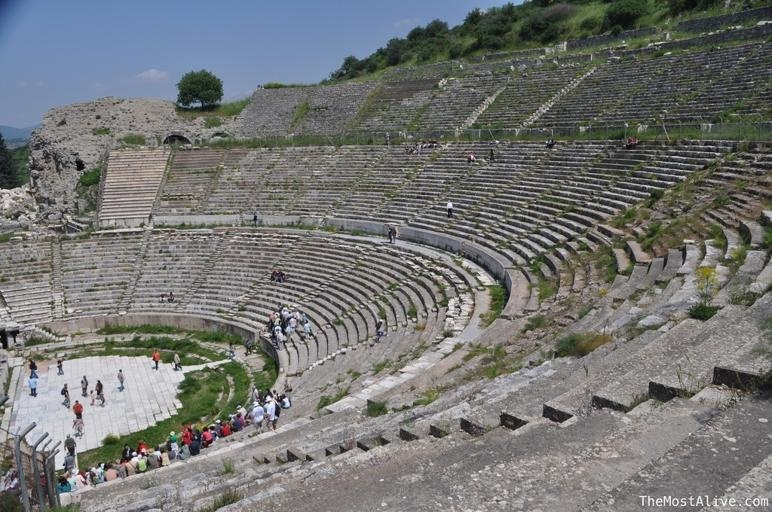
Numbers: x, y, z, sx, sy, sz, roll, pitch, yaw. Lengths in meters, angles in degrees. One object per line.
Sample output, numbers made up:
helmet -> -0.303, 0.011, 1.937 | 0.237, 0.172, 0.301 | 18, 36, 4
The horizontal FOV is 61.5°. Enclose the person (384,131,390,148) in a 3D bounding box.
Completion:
person -> 0.224, -8.866, 49.066 | 0.498, 0.999, 0.634 | 4, -15, -16

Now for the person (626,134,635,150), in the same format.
person -> 13.234, -6.095, 35.006 | 0.424, 0.432, 0.798 | -1, 8, 21

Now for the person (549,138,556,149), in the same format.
person -> 9.983, -6.741, 38.825 | 0.427, 0.472, 0.937 | -2, 19, 27
